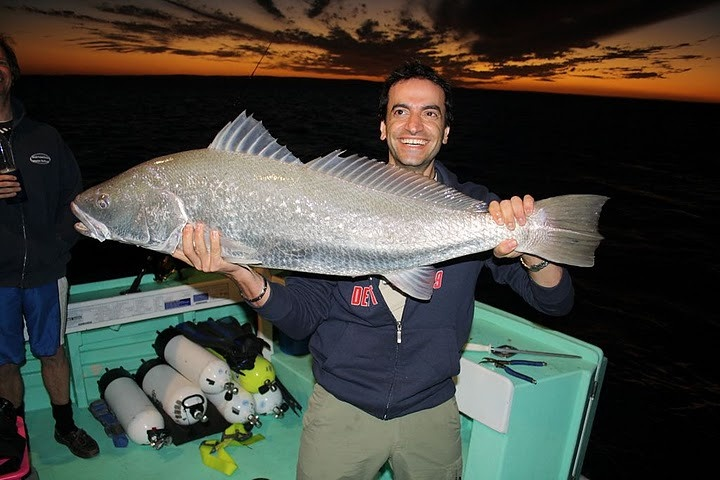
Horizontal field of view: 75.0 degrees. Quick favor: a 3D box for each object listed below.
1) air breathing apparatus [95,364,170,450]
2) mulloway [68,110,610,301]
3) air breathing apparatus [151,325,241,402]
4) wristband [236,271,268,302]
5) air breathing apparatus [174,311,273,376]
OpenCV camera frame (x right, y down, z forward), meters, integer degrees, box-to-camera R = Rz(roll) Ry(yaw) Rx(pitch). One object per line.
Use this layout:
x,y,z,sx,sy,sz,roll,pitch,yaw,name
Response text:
-2.534,1.905,5.311,1.260,0.352,0.398,30,42,33,air breathing apparatus
-0.254,-0.221,3.256,3.567,1.300,0.398,-1,23,3,mulloway
-1.822,1.438,5.371,1.398,0.417,0.470,23,36,35,air breathing apparatus
-0.759,0.345,3.357,0.213,0.067,0.209,-35,41,12,wristband
-1.575,1.143,5.545,0.880,0.359,0.606,26,32,24,air breathing apparatus
